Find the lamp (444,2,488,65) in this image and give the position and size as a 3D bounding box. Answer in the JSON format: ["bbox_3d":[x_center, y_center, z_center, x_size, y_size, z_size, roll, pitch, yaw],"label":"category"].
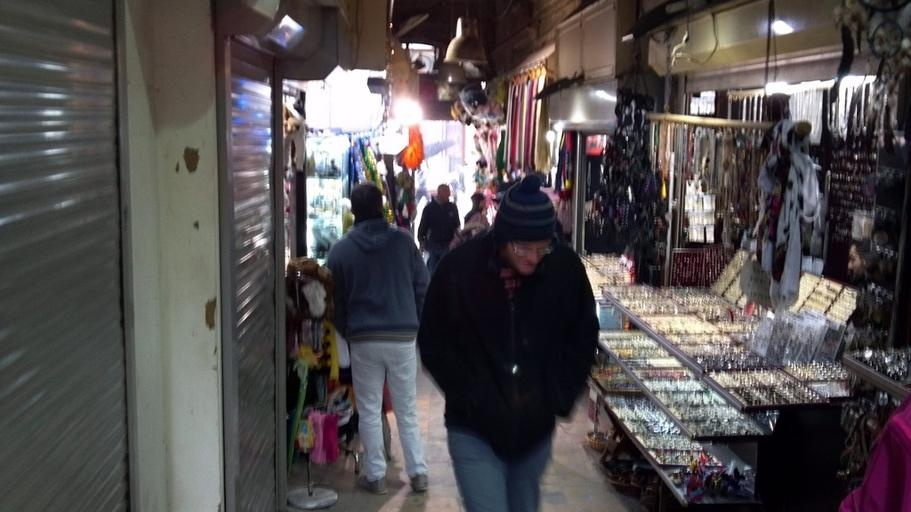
[{"bbox_3d":[0.150,-2.868,8.270,0.672,0.745,0.700,0,-7,2],"label":"lamp"}]

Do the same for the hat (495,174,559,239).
[{"bbox_3d":[0.411,-0.288,3.556,0.305,0.352,0.360,3,11,-9],"label":"hat"}]

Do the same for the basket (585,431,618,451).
[{"bbox_3d":[1.460,1.838,6.088,0.261,0.106,0.270,2,7,6],"label":"basket"}]

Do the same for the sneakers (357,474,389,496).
[{"bbox_3d":[-0.737,2.005,5.431,0.110,0.120,0.298,-5,14,-41],"label":"sneakers"}]
